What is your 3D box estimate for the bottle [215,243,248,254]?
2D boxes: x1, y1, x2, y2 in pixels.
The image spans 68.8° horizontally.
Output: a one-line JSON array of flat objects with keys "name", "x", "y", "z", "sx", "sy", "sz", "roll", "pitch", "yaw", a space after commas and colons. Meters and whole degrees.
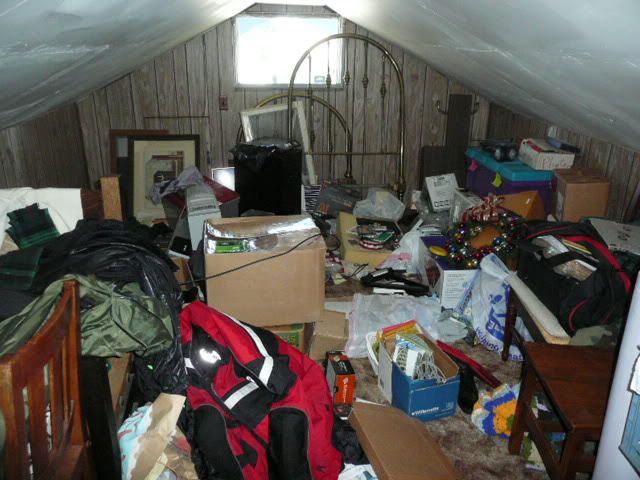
[{"name": "bottle", "x": -0.429, "y": 0.040, "z": 2.207, "sx": 0.105, "sy": 0.021, "sz": 0.055, "roll": 3, "pitch": 40, "yaw": -10}]

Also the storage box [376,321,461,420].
[{"name": "storage box", "x": 0.430, "y": 0.621, "z": 2.257, "sx": 0.276, "sy": 0.288, "sz": 0.411, "roll": -6, "pitch": 19, "yaw": -13}]

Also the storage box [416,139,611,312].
[{"name": "storage box", "x": 1.301, "y": -0.232, "z": 3.454, "sx": 0.946, "sy": 0.629, "sz": 1.274, "roll": -5, "pitch": 22, "yaw": -16}]

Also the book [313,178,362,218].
[{"name": "book", "x": 0.148, "y": -0.365, "z": 4.163, "sx": 0.440, "sy": 0.284, "sz": 0.285, "roll": -4, "pitch": 15, "yaw": -2}]

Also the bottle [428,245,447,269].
[{"name": "bottle", "x": 0.723, "y": 0.094, "z": 2.858, "sx": 0.102, "sy": 0.036, "sz": 0.099, "roll": 10, "pitch": 26, "yaw": -5}]

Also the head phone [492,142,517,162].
[{"name": "head phone", "x": 1.395, "y": -0.663, "z": 3.543, "sx": 0.126, "sy": 0.081, "sz": 0.169, "roll": 1, "pitch": 22, "yaw": 6}]

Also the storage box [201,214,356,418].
[{"name": "storage box", "x": -0.252, "y": 0.212, "z": 2.533, "sx": 0.861, "sy": 0.808, "sz": 0.544, "roll": -1, "pitch": 19, "yaw": -1}]
